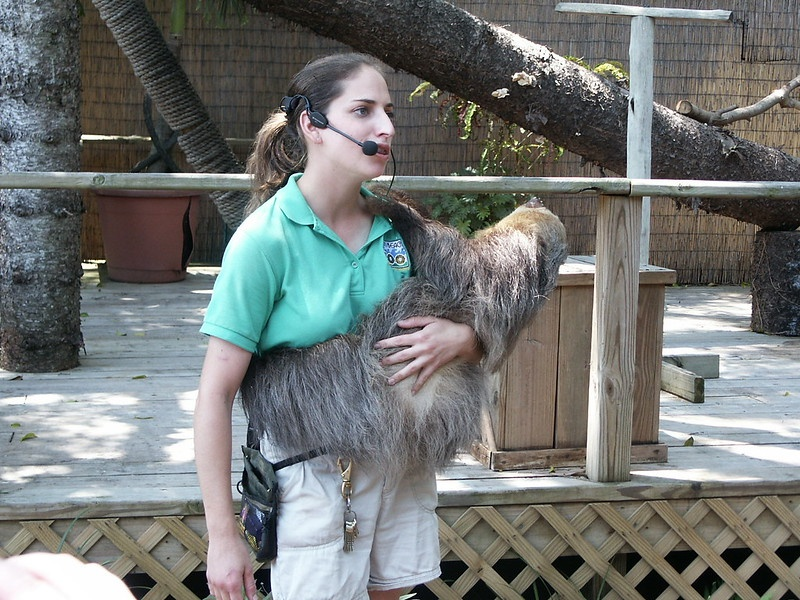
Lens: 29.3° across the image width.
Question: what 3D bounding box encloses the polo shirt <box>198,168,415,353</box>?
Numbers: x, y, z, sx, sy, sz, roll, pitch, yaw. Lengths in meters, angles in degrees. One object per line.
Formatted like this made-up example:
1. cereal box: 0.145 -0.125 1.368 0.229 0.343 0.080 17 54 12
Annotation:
1. polo shirt: -0.382 -0.164 6.834 1.077 0.726 0.536 -15 24 -31

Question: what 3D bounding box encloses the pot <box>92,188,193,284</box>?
1. pot: -2.049 -0.493 12.006 1.002 0.683 0.938 -2 0 0

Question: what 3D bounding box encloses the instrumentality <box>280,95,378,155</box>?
1. instrumentality: -0.355 -0.799 6.754 0.532 0.112 0.204 31 45 21
